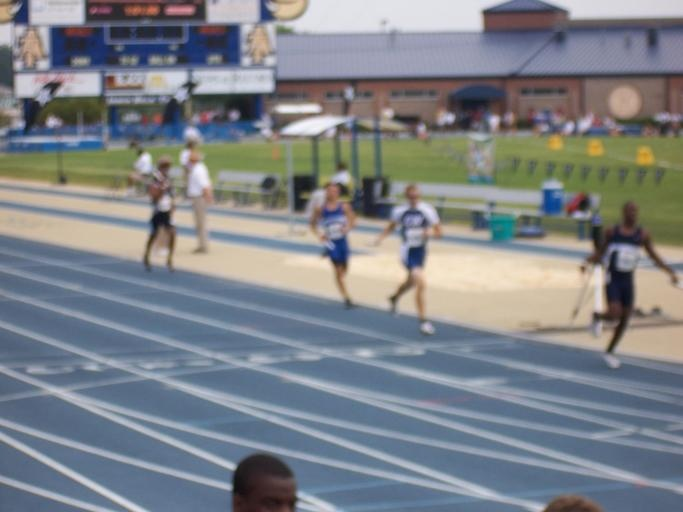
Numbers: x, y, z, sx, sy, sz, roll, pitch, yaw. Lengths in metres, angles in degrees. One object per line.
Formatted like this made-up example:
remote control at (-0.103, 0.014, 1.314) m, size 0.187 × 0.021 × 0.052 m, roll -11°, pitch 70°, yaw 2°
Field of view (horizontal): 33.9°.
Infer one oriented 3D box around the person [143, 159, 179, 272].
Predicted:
person at (-3.304, -0.742, 20.250) m, size 0.581 × 2.108 × 1.150 m, roll -2°, pitch 13°, yaw -10°

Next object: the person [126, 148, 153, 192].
person at (-5.367, -2.349, 29.840) m, size 0.567 × 1.322 × 0.582 m, roll 1°, pitch 16°, yaw -11°

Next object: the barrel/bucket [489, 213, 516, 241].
barrel/bucket at (3.393, -0.638, 23.652) m, size 0.565 × 0.518 × 0.543 m, roll 0°, pitch 13°, yaw 0°

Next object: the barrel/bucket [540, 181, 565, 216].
barrel/bucket at (4.547, -1.302, 24.319) m, size 0.486 × 0.711 × 0.610 m, roll 3°, pitch 13°, yaw 11°

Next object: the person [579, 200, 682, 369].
person at (3.867, 0.337, 15.401) m, size 1.148 × 2.288 × 0.903 m, roll 6°, pitch 13°, yaw 23°

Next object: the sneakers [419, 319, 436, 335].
sneakers at (1.252, 1.032, 16.617) m, size 0.237 × 0.153 × 0.140 m, roll 14°, pitch 22°, yaw 41°

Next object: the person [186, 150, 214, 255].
person at (-2.791, -1.027, 22.006) m, size 0.459 × 2.106 × 1.490 m, roll -1°, pitch 13°, yaw -8°

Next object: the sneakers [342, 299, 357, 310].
sneakers at (0.105, 0.755, 18.052) m, size 0.148 × 0.182 × 0.165 m, roll -2°, pitch 5°, yaw 38°

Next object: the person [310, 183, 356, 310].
person at (-0.141, -0.192, 17.852) m, size 0.674 × 2.080 × 0.873 m, roll 0°, pitch 12°, yaw 0°

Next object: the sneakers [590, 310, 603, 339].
sneakers at (3.562, 0.937, 15.817) m, size 0.153 × 0.516 × 0.202 m, roll 1°, pitch 6°, yaw 37°

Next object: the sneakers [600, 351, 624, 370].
sneakers at (3.693, 1.421, 15.456) m, size 0.137 × 0.115 × 0.279 m, roll -13°, pitch 18°, yaw -7°

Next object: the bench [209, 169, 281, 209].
bench at (-2.582, -1.915, 30.584) m, size 0.990 × 1.049 × 3.000 m, roll -6°, pitch 16°, yaw -26°
